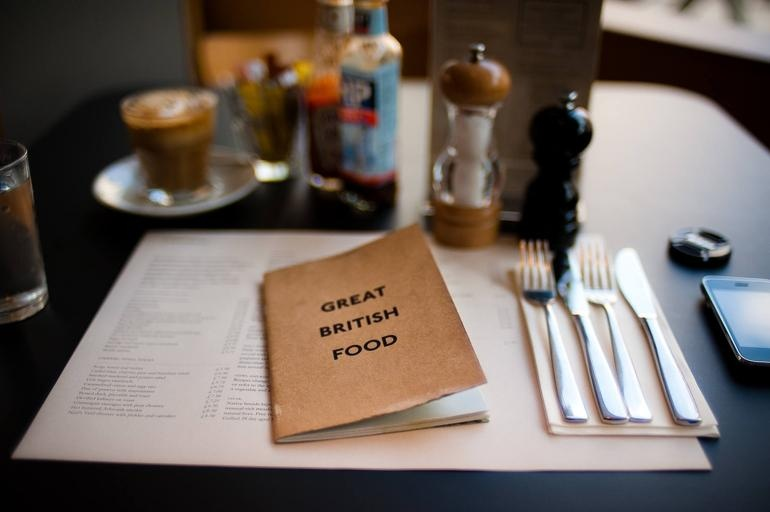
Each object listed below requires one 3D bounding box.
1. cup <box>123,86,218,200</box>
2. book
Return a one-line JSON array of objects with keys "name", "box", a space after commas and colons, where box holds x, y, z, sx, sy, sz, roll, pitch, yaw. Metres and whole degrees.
[{"name": "cup", "box": [-0.337, -0.153, 0.959, 0.129, 0.145, 0.135, 4, 6, 0]}, {"name": "book", "box": [-0.031, 0.081, 0.760, 0.233, 0.092, 0.259, -7, 37, -9]}]
